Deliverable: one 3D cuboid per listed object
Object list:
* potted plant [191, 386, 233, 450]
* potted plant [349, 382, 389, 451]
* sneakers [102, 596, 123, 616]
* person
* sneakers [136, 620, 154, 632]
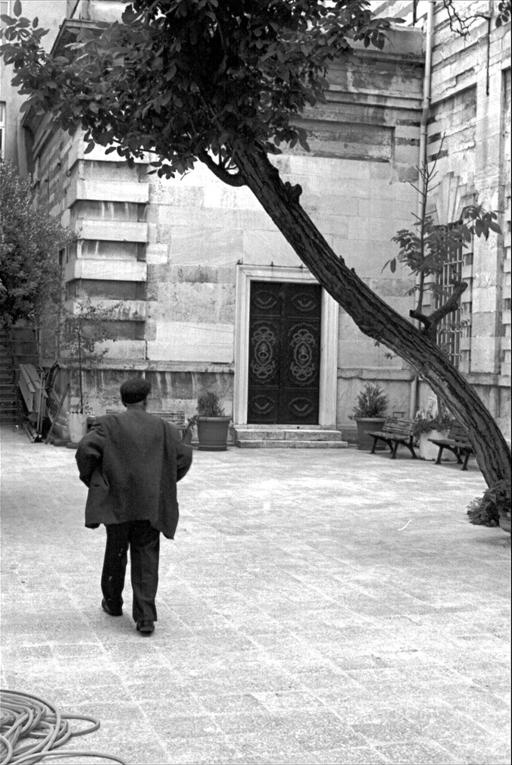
[{"bbox_3d":[-0.791,0.590,18.185,0.671,1.145,0.689,-2,3,-36],"label":"potted plant"},{"bbox_3d":[1.811,0.578,19.165,0.453,1.101,0.502,1,-12,11],"label":"potted plant"},{"bbox_3d":[-0.897,1.403,7.511,0.059,0.089,0.188,2,6,-20],"label":"sneakers"},{"bbox_3d":[-0.741,0.732,7.241,0.678,1.495,0.479,1,1,-3],"label":"person"},{"bbox_3d":[-0.653,1.441,7.084,0.111,0.083,0.135,1,0,-7],"label":"sneakers"}]
